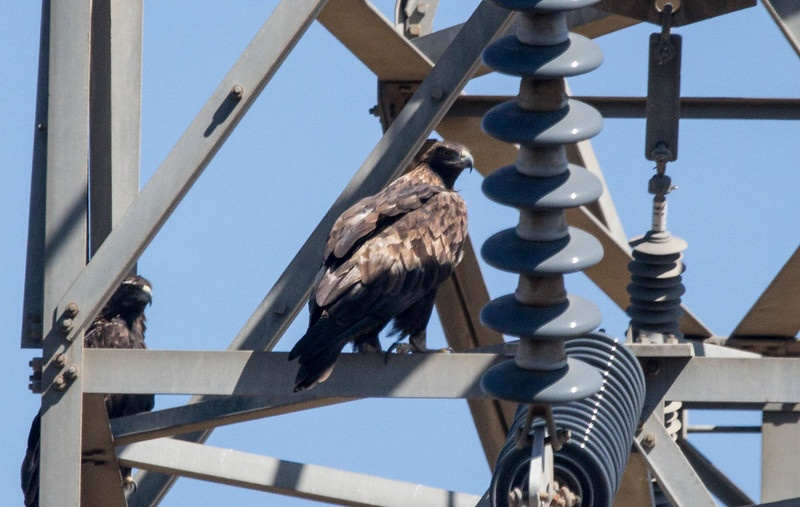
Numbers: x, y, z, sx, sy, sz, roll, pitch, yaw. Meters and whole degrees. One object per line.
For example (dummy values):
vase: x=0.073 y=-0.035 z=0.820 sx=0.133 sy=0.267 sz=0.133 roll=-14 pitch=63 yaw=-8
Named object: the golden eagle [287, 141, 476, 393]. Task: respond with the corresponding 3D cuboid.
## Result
golden eagle: x=-0.044 y=0.004 z=17.808 sx=0.996 sy=2.741 sz=0.940 roll=-12 pitch=-49 yaw=17
